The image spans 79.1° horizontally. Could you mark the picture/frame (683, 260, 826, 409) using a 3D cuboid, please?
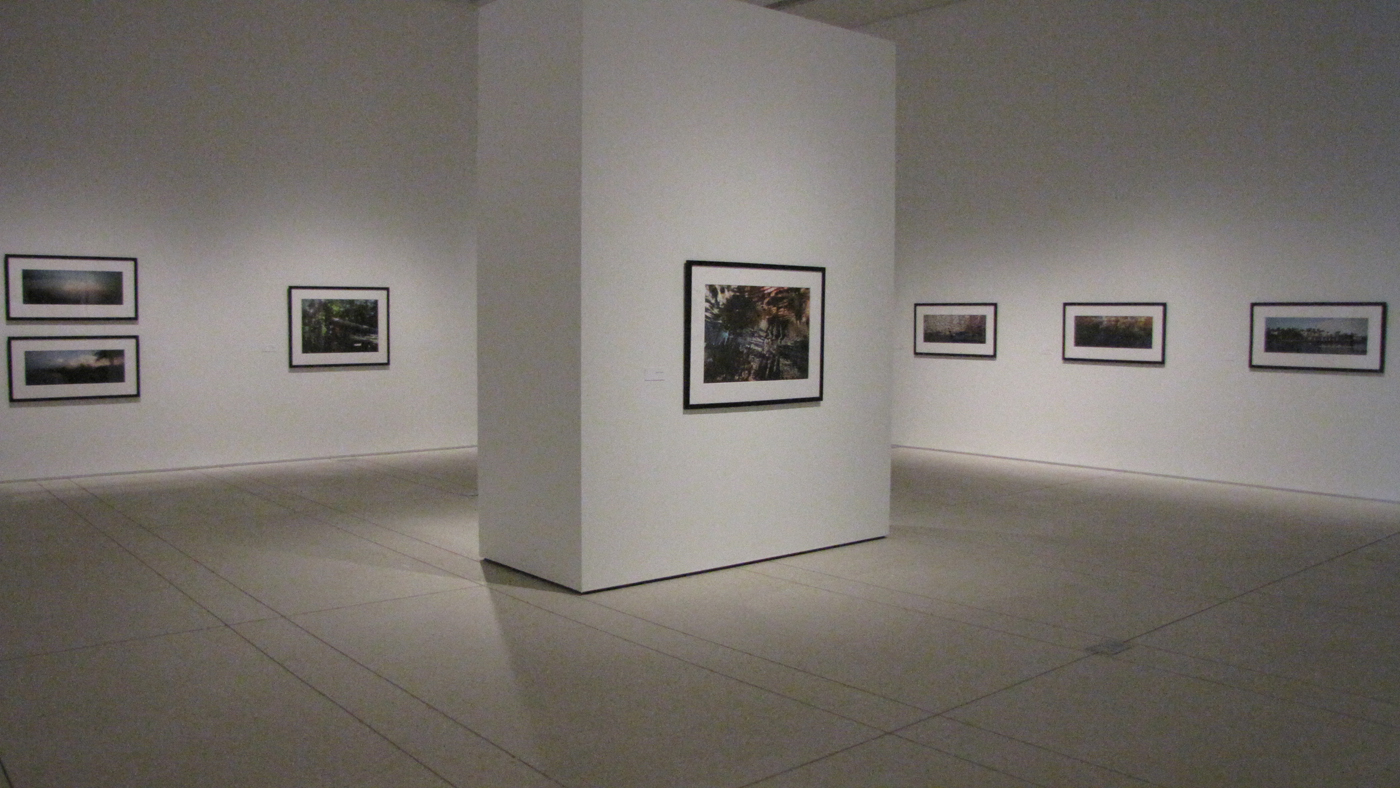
[{"bbox_3d":[0.574,-0.711,10.045,1.797,1.568,0.081,-1,0,-31],"label":"picture/frame"}]
